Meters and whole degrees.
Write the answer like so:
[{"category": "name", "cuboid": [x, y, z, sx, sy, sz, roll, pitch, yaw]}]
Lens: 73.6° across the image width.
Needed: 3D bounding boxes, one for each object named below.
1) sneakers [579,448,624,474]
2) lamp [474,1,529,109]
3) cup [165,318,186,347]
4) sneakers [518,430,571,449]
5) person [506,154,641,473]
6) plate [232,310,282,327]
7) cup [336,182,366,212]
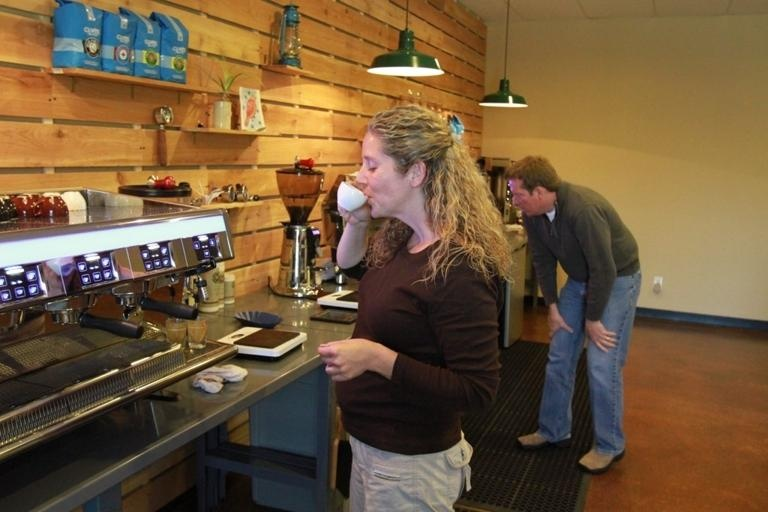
[{"category": "sneakers", "cuboid": [1.462, 1.332, 3.417, 0.374, 0.133, 0.128, -1, 3, -29]}, {"category": "lamp", "cuboid": [1.521, -2.397, 6.171, 0.585, 1.258, 2.029, 6, 13, 11]}, {"category": "cup", "cuboid": [-0.835, 0.301, 2.041, 0.110, 0.099, 0.100, 0, -1, -3]}, {"category": "sneakers", "cuboid": [1.094, 1.280, 3.529, 0.379, 0.138, 0.125, 3, -7, 2]}, {"category": "person", "cuboid": [1.254, 0.374, 3.363, 0.893, 2.002, 0.446, 12, 17, 31]}, {"category": "plate", "cuboid": [-0.644, 0.321, 2.588, 0.151, 0.030, 0.113, 6, 20, -16]}, {"category": "cup", "cuboid": [-0.112, -0.197, 1.734, 0.111, 0.079, 0.101, 24, 11, 13]}]
